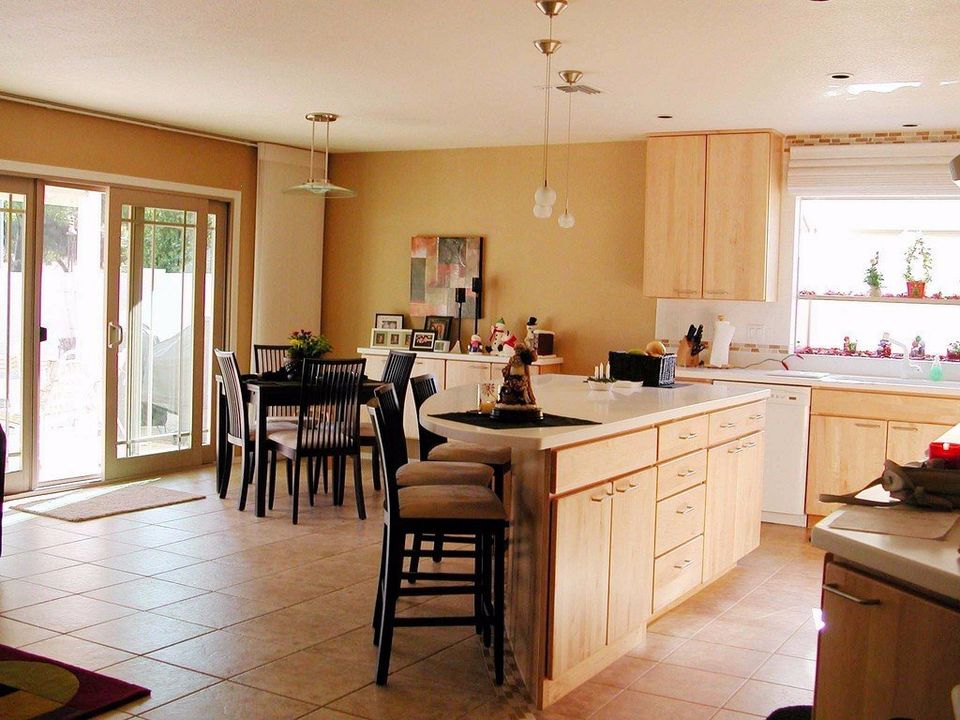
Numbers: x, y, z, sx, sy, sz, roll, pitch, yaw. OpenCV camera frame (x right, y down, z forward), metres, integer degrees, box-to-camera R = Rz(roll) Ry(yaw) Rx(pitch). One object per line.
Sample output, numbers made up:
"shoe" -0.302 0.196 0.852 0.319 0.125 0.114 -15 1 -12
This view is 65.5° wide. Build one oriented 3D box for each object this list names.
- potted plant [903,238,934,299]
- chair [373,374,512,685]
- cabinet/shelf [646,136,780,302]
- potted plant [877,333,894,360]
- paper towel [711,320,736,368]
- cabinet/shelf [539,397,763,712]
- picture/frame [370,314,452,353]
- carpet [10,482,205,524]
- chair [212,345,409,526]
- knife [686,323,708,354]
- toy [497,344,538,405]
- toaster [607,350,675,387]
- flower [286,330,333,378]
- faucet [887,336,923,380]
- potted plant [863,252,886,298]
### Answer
"potted plant" 3.673 -0.773 6.235 0.225 0.526 0.234 4 6 21
"chair" -0.193 0.751 3.727 0.669 1.309 1.115 1 5 -6
"cabinet/shelf" 2.038 -1.228 6.387 1.375 1.696 0.699 2 2 25
"potted plant" 3.409 -0.103 6.306 0.098 0.181 0.066 5 1 37
"paper towel" 2.141 -0.144 6.604 0.198 0.410 0.268 3 5 17
"cabinet/shelf" 0.803 0.959 3.623 0.363 0.659 1.260 0 2 35
"picture/frame" -0.722 -0.296 7.823 0.988 0.373 0.313 5 6 31
"carpet" -2.938 1.126 5.942 0.887 0.029 1.241 7 7 44
"chair" -1.483 0.501 6.263 1.334 1.745 1.227 0 3 -21
"knife" 1.910 -0.182 6.602 0.241 0.251 0.083 2 -4 15
"toy" 0.175 0.080 3.604 0.242 0.369 0.208 1 3 1
"toaster" 1.085 0.060 4.845 0.259 0.181 0.343 -3 5 -45
"flower" -1.358 -0.081 6.188 0.443 0.449 0.402 2 -5 -13
"faucet" 3.517 -0.004 6.201 0.290 0.307 0.319 2 5 -1
"potted plant" 3.381 -0.732 6.398 0.150 0.384 0.198 5 6 28
